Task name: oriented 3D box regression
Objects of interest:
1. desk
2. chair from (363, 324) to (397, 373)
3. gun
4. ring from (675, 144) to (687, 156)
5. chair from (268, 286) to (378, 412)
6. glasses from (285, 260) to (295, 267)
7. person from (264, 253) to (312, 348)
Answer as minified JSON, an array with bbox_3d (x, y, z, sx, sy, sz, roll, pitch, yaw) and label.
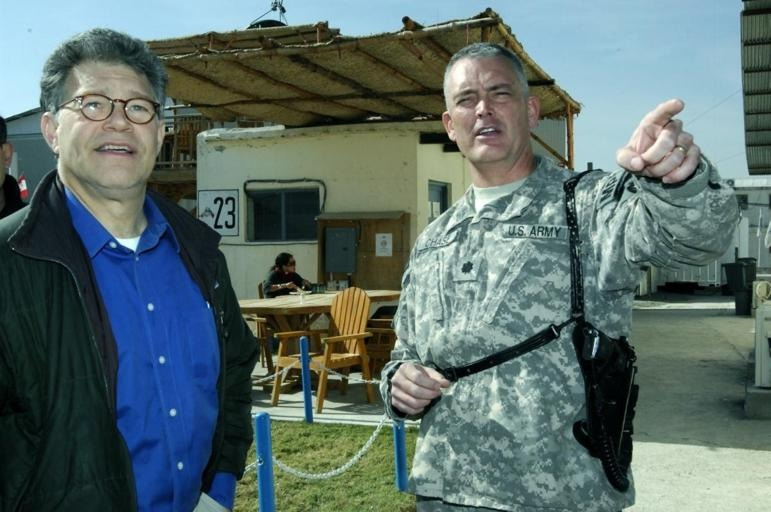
[{"bbox_3d":[-0.672,0.720,11.746,1.585,0.383,1.024,-12,4,14],"label":"desk"},{"bbox_3d":[-0.131,1.167,12.039,0.426,0.506,0.417,3,-20,-17],"label":"chair"},{"bbox_3d":[1.160,0.664,5.259,0.324,0.209,0.891,-17,-34,1],"label":"gun"},{"bbox_3d":[1.366,-0.483,4.597,0.017,0.046,0.037,-41,0,25],"label":"ring"},{"bbox_3d":[-0.630,0.981,10.685,1.064,1.221,1.091,1,0,8],"label":"chair"},{"bbox_3d":[-1.305,0.130,13.605,0.090,0.080,0.117,6,13,8],"label":"glasses"},{"bbox_3d":[-1.314,0.555,13.467,0.738,1.081,0.629,1,-9,-25],"label":"person"}]
